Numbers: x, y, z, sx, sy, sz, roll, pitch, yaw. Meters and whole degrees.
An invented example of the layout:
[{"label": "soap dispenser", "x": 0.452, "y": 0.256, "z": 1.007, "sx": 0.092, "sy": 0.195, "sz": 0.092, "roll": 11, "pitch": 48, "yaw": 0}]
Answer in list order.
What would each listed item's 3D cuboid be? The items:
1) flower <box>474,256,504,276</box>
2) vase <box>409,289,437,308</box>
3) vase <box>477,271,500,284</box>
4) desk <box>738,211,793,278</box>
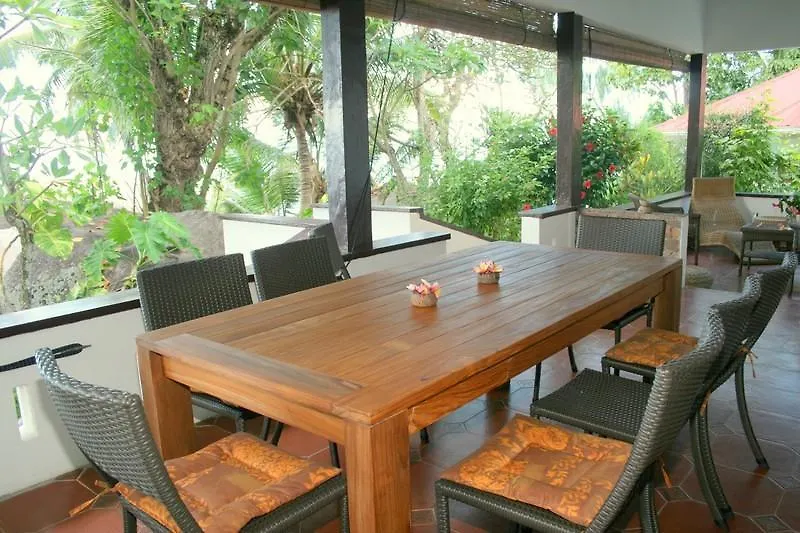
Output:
[{"label": "flower", "x": 0.529, "y": -0.005, "z": 3.258, "sx": 0.135, "sy": 0.064, "sz": 0.128, "roll": 0, "pitch": 6, "yaw": 6}, {"label": "vase", "x": 0.120, "y": 0.167, "z": 2.882, "sx": 0.098, "sy": 0.053, "sz": 0.096, "roll": 3, "pitch": 5, "yaw": 22}, {"label": "vase", "x": 0.511, "y": 0.066, "z": 3.225, "sx": 0.085, "sy": 0.046, "sz": 0.082, "roll": -1, "pitch": 2, "yaw": -41}, {"label": "desk", "x": 4.223, "y": -0.235, "z": 6.400, "sx": 0.687, "sy": 0.680, "sz": 1.028, "roll": 3, "pitch": 10, "yaw": 34}]
